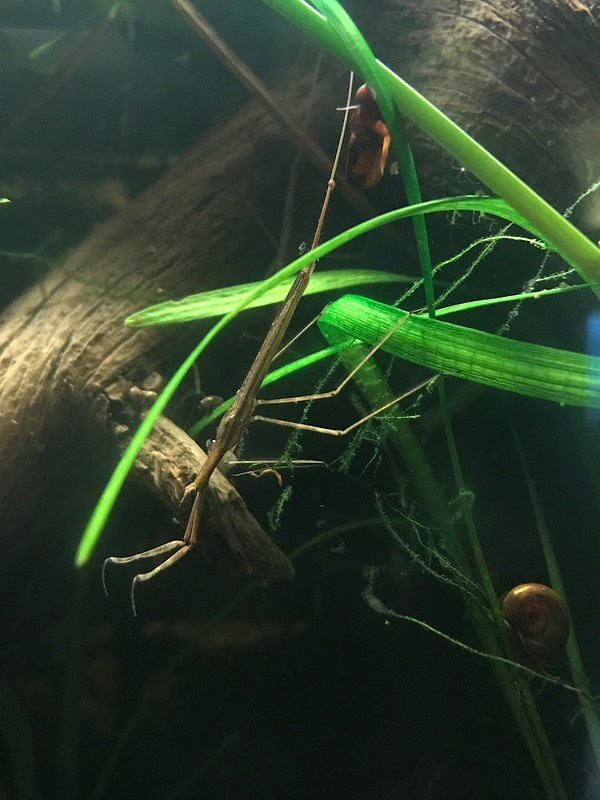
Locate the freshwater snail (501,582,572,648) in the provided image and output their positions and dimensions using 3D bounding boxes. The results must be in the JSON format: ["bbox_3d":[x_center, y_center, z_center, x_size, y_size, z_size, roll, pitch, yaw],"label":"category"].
[{"bbox_3d":[0.528,0.485,1.771,0.144,0.087,0.121,2,46,8],"label":"freshwater snail"}]

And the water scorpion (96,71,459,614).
[{"bbox_3d":[-0.150,0.023,1.869,0.488,1.459,0.647,20,30,31],"label":"water scorpion"}]
